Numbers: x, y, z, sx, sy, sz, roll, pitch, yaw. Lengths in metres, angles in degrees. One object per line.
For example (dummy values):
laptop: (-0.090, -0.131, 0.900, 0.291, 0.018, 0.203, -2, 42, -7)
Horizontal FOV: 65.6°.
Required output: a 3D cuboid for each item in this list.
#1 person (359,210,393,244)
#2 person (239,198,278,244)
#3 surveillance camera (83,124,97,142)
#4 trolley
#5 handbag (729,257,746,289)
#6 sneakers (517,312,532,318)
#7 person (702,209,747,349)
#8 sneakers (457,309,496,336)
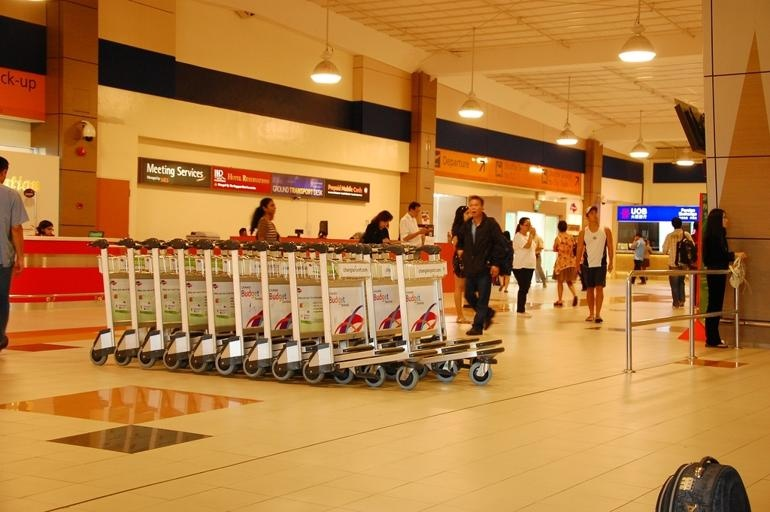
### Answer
person: (-0.151, -0.533, 10.677, 0.430, 0.587, 0.991, 0, -1, -2)
person: (-1.850, -0.569, 9.160, 0.359, 0.718, 2.082, 0, -1, -13)
surveillance camera: (-6.328, -2.645, 12.779, 0.245, 0.325, 0.330, 2, 11, -3)
trolley: (-1.041, 0.558, 6.520, 4.017, 1.506, 1.242, -1, -1, 16)
handbag: (5.122, 0.228, 8.709, 0.193, 0.463, 0.453, -1, -1, 30)
sneakers: (2.777, 1.187, 12.007, 0.335, 0.134, 0.109, 0, 0, 14)
person: (4.866, 0.309, 8.763, 0.775, 2.050, 0.473, 1, -2, -44)
sneakers: (1.383, 0.999, 8.742, 0.694, 0.299, 0.237, -5, 0, 2)
